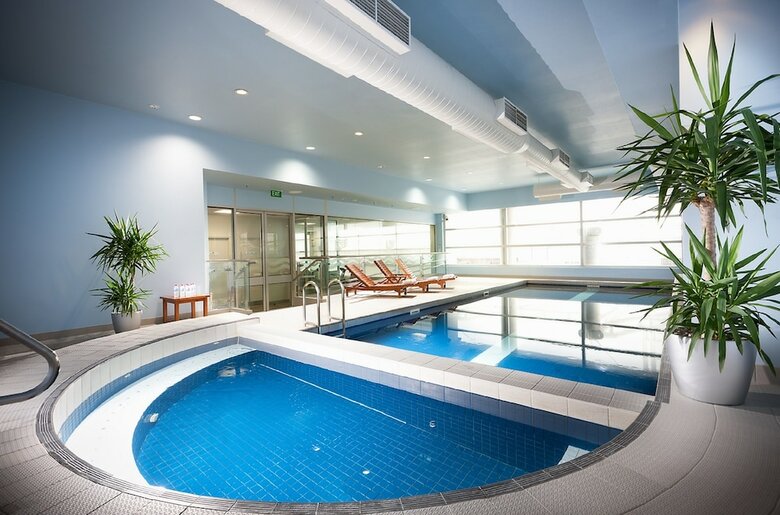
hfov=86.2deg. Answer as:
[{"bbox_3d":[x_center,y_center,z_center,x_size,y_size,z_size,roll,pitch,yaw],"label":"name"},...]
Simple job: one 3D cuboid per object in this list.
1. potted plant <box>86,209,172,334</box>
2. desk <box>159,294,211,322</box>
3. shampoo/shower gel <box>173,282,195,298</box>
[{"bbox_3d":[-4.210,0.371,6.942,1.044,1.714,1.177,10,8,39],"label":"potted plant"},{"bbox_3d":[-3.680,0.867,7.574,0.517,0.591,0.689,-3,-3,36],"label":"desk"},{"bbox_3d":[-3.703,0.617,7.529,0.221,0.255,0.400,-6,-4,29],"label":"shampoo/shower gel"}]
